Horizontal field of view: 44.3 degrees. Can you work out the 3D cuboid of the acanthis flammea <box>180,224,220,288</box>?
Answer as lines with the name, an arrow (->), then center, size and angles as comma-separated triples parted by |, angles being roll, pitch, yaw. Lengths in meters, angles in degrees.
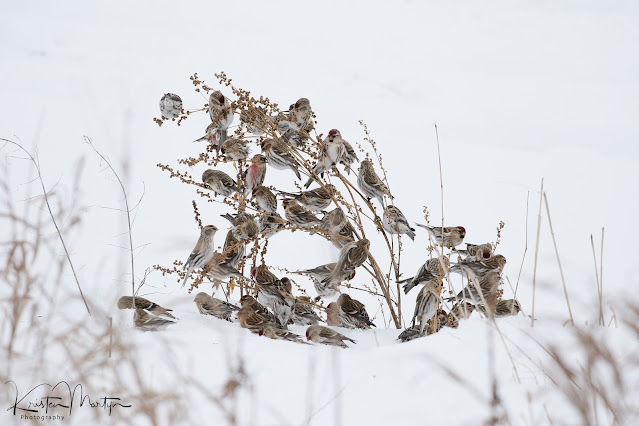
acanthis flammea -> -0.837, 0.307, 5.511 | 0.214, 0.417, 0.448 | 2, 11, -9

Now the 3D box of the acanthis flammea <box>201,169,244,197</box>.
acanthis flammea -> -0.738, -0.232, 6.027 | 0.302, 0.228, 0.244 | -1, 12, -25

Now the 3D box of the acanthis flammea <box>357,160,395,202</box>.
acanthis flammea -> 0.421, -0.230, 5.973 | 0.190, 0.297, 0.375 | 0, 12, -20

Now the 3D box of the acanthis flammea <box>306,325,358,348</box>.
acanthis flammea -> 0.104, 0.815, 5.235 | 0.414, 0.186, 0.129 | 6, -4, 8

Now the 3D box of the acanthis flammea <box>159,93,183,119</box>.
acanthis flammea -> -1.183, -0.853, 6.306 | 0.155, 0.221, 0.199 | -1, 12, -25

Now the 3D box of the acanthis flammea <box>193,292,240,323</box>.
acanthis flammea -> -0.744, 0.703, 5.716 | 0.313, 0.202, 0.478 | 2, 12, -12

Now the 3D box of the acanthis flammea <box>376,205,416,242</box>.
acanthis flammea -> 0.604, 0.071, 5.980 | 0.267, 0.273, 0.262 | 3, 11, -7

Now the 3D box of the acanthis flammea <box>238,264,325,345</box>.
acanthis flammea -> -0.332, 0.673, 5.542 | 0.506, 0.451, 0.933 | 4, 11, -1

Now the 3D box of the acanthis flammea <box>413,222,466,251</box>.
acanthis flammea -> 0.769, 0.154, 4.897 | 0.290, 0.146, 0.121 | 23, -16, -6

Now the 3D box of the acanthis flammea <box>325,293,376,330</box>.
acanthis flammea -> 0.205, 0.782, 6.075 | 0.452, 0.265, 0.178 | 15, 15, 42

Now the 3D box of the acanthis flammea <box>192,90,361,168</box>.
acanthis flammea -> -0.325, -0.640, 6.063 | 1.227, 0.512, 0.634 | 5, 11, 1
